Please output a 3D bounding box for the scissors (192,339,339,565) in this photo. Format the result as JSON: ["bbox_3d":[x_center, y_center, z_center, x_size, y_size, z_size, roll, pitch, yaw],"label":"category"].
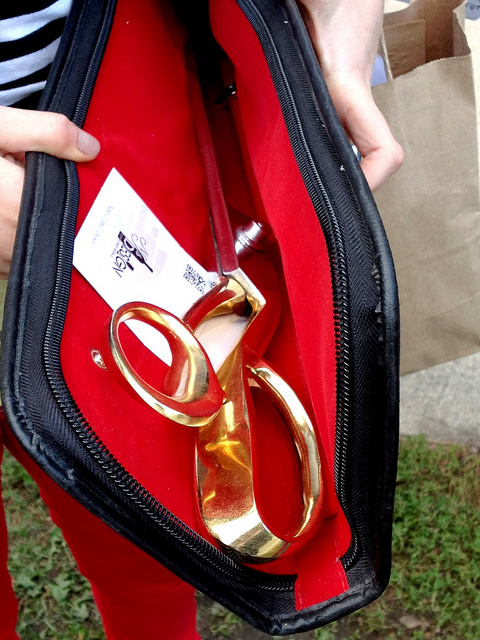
[{"bbox_3d":[0.000,0.120,0.584,0.138,0.060,0.199,-10,80,-34],"label":"scissors"}]

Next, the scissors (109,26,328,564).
[{"bbox_3d":[-0.048,-0.089,0.686,0.181,0.145,0.646,-4,63,-11],"label":"scissors"}]
